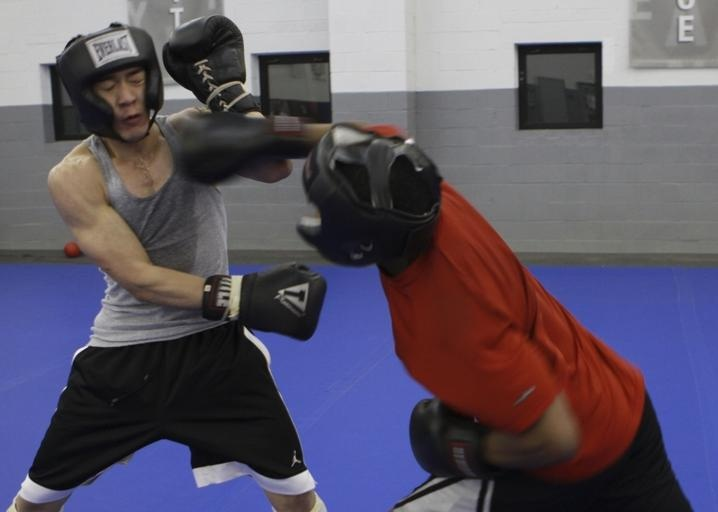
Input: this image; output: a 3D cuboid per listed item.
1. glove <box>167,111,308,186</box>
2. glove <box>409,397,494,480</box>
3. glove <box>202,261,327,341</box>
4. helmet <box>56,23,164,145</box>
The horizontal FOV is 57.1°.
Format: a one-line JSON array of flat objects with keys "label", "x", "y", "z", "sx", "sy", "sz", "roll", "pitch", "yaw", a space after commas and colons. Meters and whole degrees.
[{"label": "glove", "x": -0.344, "y": -0.305, "z": 1.930, "sx": 0.320, "sy": 0.150, "sz": 0.250, "roll": -5, "pitch": 30, "yaw": 10}, {"label": "glove", "x": 0.225, "y": 0.428, "z": 1.562, "sx": 0.120, "sy": 0.164, "sz": 0.162, "roll": -41, "pitch": 16, "yaw": 6}, {"label": "glove", "x": -0.295, "y": 0.155, "z": 2.111, "sx": 0.297, "sy": 0.151, "sz": 0.239, "roll": 2, "pitch": -26, "yaw": 3}, {"label": "helmet", "x": -0.781, "y": -0.551, "z": 2.089, "sx": 0.299, "sy": 0.348, "sz": 0.152, "roll": -7, "pitch": 15, "yaw": -21}]
